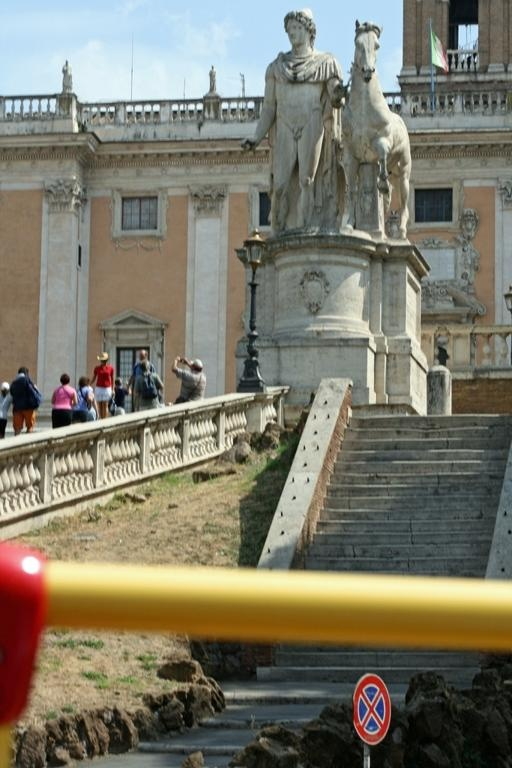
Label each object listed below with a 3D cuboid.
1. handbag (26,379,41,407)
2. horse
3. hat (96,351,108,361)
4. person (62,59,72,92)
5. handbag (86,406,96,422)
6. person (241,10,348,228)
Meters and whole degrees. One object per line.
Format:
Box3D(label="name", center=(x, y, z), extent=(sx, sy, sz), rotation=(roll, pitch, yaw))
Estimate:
Box3D(label="handbag", center=(-2.696, 0.091, 24.738), extent=(0.080, 0.338, 0.192), rotation=(-12, -10, -19))
Box3D(label="horse", center=(1.704, -3.345, 27.709), extent=(0.487, 2.734, 3.011), rotation=(3, -7, 16))
Box3D(label="hat", center=(-2.806, -0.534, 37.352), extent=(0.220, 0.147, 0.315), rotation=(-9, -9, 15))
Box3D(label="person", center=(-4.788, -7.848, 51.690), extent=(0.187, 0.829, 0.991), rotation=(-1, 4, -8))
Box3D(label="handbag", center=(-2.015, 0.367, 24.863), extent=(0.076, 0.228, 0.115), rotation=(-3, -5, 24))
Box3D(label="person", center=(0.635, -3.571, 27.329), extent=(1.144, 3.019, 0.995), rotation=(-1, 3, 0))
